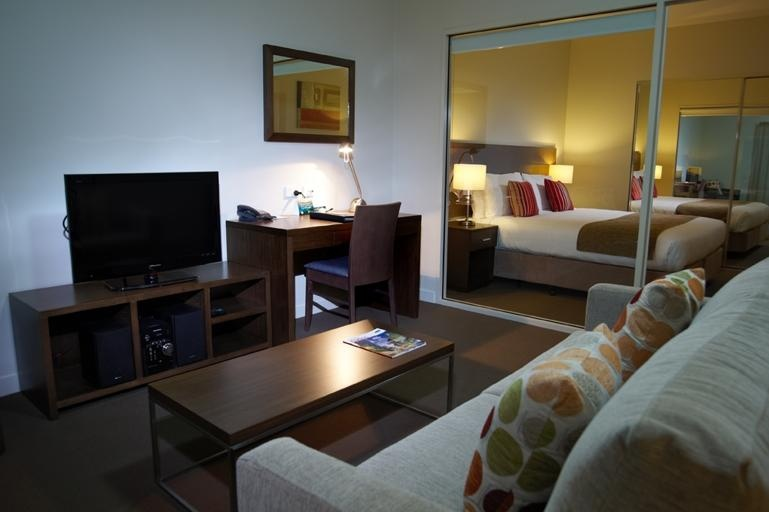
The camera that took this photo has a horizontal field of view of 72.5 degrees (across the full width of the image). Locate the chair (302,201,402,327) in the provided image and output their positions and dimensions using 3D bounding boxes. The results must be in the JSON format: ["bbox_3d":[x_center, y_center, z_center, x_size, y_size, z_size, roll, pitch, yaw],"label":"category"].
[{"bbox_3d":[-0.251,0.075,4.215,0.684,1.005,0.725,-5,11,-27],"label":"chair"}]

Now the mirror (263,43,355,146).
[{"bbox_3d":[-0.651,-1.343,4.346,0.061,0.764,0.925,9,10,44],"label":"mirror"}]

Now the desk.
[{"bbox_3d":[-0.403,0.134,4.378,1.321,0.929,0.743,-11,17,-41],"label":"desk"}]

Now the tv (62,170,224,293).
[{"bbox_3d":[-1.569,-0.171,3.547,0.289,0.763,1.058,17,20,34],"label":"tv"}]

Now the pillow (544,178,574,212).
[{"bbox_3d":[1.437,-0.485,4.326,0.155,0.258,0.303,11,12,43],"label":"pillow"}]

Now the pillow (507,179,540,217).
[{"bbox_3d":[1.170,-0.488,4.374,0.244,0.248,0.129,-24,14,-31],"label":"pillow"}]

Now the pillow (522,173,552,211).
[{"bbox_3d":[1.259,-0.533,4.293,0.106,0.286,0.237,-14,-4,-35],"label":"pillow"}]

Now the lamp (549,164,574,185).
[{"bbox_3d":[1.421,-0.652,4.192,0.163,0.181,0.158,-13,22,-36],"label":"lamp"}]

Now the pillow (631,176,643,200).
[{"bbox_3d":[1.900,-0.502,3.962,0.044,0.153,0.143,5,8,35],"label":"pillow"}]

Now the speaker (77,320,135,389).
[{"bbox_3d":[-1.685,0.586,3.206,0.256,0.359,0.251,-10,14,-38],"label":"speaker"}]

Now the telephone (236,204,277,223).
[{"bbox_3d":[-0.996,-0.312,3.988,0.174,0.080,0.178,7,9,21],"label":"telephone"}]

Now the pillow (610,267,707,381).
[{"bbox_3d":[0.976,0.248,1.875,0.146,0.391,0.334,36,16,27],"label":"pillow"}]
